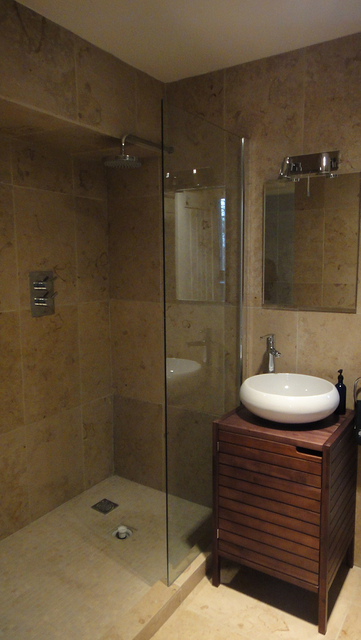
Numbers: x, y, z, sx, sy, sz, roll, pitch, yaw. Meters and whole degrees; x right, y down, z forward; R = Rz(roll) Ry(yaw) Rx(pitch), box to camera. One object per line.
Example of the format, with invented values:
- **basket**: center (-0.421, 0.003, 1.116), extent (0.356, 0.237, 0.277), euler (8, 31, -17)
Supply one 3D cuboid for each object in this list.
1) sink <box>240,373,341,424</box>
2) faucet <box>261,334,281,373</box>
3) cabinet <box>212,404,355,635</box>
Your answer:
- **sink**: center (0.468, 0.329, 2.040), extent (0.401, 0.121, 0.514), euler (3, 6, 17)
- **faucet**: center (0.462, 0.174, 2.335), extent (0.089, 0.200, 0.163), euler (1, 5, -5)
- **cabinet**: center (0.445, 0.802, 2.055), extent (0.530, 0.800, 0.463), euler (5, 6, 36)
